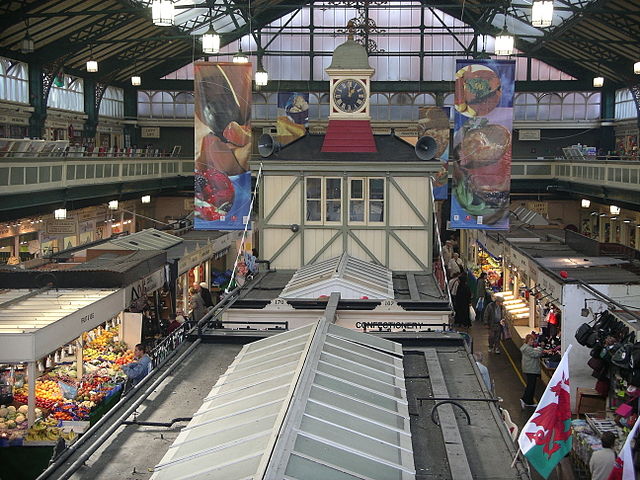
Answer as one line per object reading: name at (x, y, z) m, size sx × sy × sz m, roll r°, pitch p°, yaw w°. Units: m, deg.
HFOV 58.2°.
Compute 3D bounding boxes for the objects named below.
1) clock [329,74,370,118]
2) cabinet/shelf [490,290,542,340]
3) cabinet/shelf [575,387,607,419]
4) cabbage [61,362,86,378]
clock at (0.860, -4.129, 16.480) m, size 1.175 × 1.432 × 0.419 m, roll 0°, pitch -1°, yaw -2°
cabinet/shelf at (6.355, 2.371, 18.607) m, size 0.786 × 1.047 × 2.267 m, roll 2°, pitch 5°, yaw 1°
cabinet/shelf at (5.807, 3.471, 12.331) m, size 0.690 × 0.477 × 0.737 m, roll 0°, pitch 2°, yaw 9°
cabbage at (-5.456, 2.846, 12.670) m, size 0.292 × 0.237 × 0.403 m, roll 7°, pitch 1°, yaw 25°
